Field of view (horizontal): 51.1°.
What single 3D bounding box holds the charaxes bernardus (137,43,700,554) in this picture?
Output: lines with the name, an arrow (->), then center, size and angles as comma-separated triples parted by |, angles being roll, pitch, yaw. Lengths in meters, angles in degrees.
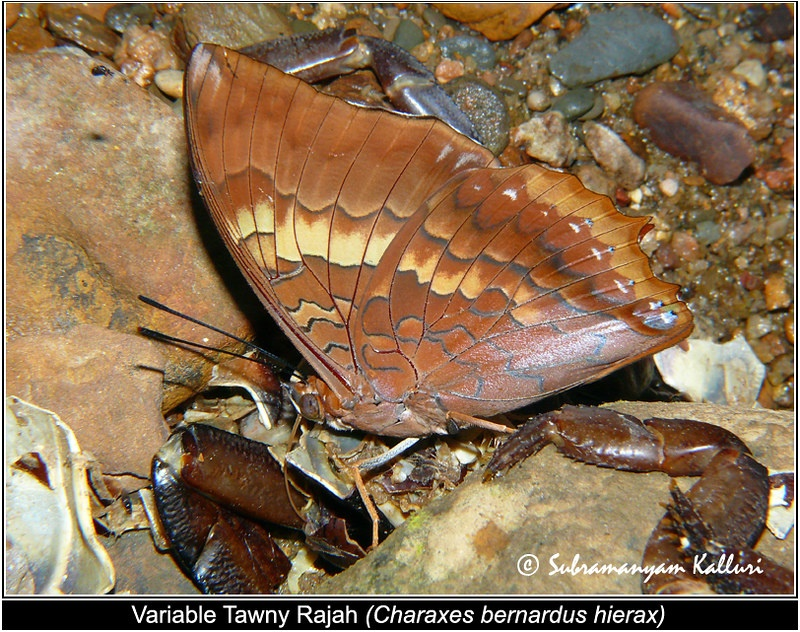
charaxes bernardus -> -0.019, 0.002, 4.178 | 0.872, 2.650, 0.862 | -58, 27, -11
